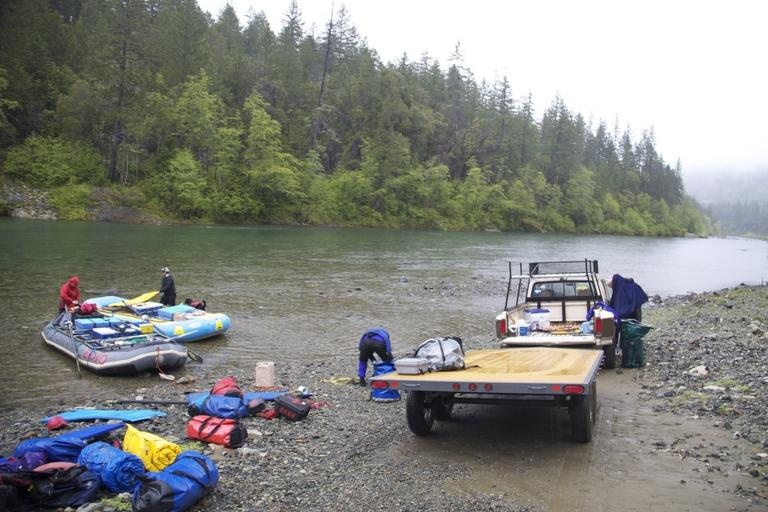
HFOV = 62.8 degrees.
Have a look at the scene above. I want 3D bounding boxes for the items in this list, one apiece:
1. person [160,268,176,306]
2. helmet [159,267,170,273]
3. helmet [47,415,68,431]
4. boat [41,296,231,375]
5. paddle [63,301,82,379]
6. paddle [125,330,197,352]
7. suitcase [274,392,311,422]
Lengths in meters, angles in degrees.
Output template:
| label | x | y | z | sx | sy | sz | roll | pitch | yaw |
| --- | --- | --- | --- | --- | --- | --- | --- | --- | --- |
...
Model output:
| label | x | y | z | sx | sy | sz | roll | pitch | yaw |
| --- | --- | --- | --- | --- | --- | --- | --- | --- | --- |
| person | -9.514 | 1.388 | 27.487 | 0.872 | 1.690 | 0.737 | 4 | 41 | -21 |
| helmet | -10.750 | 0.645 | 30.603 | 0.506 | 0.386 | 0.361 | 4 | 0 | -17 |
| helmet | -8.673 | 4.395 | 16.634 | 0.478 | 0.246 | 0.492 | -1 | 4 | -29 |
| boat | -9.457 | 2.837 | 22.392 | 3.107 | 1.168 | 5.090 | 0 | 4 | -40 |
| paddle | -10.747 | 2.967 | 21.593 | 0.365 | 0.301 | 2.562 | -13 | 49 | -10 |
| paddle | -7.975 | 3.042 | 23.386 | 1.359 | 0.337 | 0.765 | 10 | 4 | 16 |
| suitcase | -2.558 | 4.192 | 17.499 | 0.832 | 0.430 | 0.611 | 10 | -5 | 23 |
